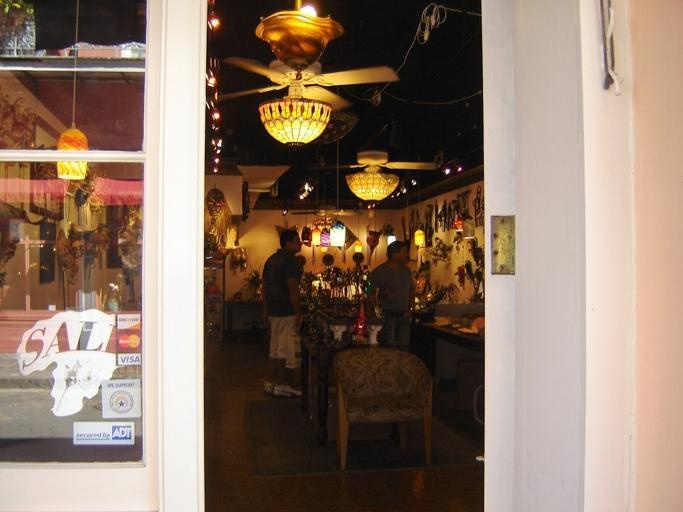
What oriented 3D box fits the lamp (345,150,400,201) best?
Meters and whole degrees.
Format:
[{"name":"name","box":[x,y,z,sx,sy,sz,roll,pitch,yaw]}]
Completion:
[{"name":"lamp","box":[0.344,-0.887,7.409,0.520,0.466,0.575,1,-5,-6]}]

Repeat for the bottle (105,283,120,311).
[{"name":"bottle","box":[-0.751,0.134,2.111,0.050,0.097,0.010,0,1,12]}]

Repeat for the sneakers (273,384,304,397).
[{"name":"sneakers","box":[-0.548,1.371,6.567,0.329,0.153,0.122,0,18,-15]}]

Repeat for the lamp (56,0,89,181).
[{"name":"lamp","box":[-0.892,-0.552,2.118,0.088,0.608,0.068,-1,1,-34]}]

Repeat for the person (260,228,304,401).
[{"name":"person","box":[-0.655,0.604,6.978,0.414,1.755,1.417,-1,1,-5]}]

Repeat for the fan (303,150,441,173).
[{"name":"fan","box":[0.338,-1.099,7.712,0.823,0.138,0.811,-1,0,-43]}]

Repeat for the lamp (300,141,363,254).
[{"name":"lamp","box":[-0.205,-1.005,10.808,1.033,3.050,1.025,2,-4,-2]}]

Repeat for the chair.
[{"name":"chair","box":[0.265,1.110,4.790,0.702,0.879,0.721,0,-11,-3]}]

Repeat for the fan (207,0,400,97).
[{"name":"fan","box":[-0.226,-1.271,4.105,0.793,0.611,0.820,3,5,41]}]

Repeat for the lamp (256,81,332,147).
[{"name":"lamp","box":[-0.318,-0.985,4.624,0.366,0.283,0.359,0,1,-44]}]

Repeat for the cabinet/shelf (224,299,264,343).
[{"name":"cabinet/shelf","box":[-1.737,1.133,11.550,0.745,0.717,0.434,-1,1,-17]}]

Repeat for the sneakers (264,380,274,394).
[{"name":"sneakers","box":[-0.736,1.350,6.523,0.094,0.151,0.123,-2,31,-11]}]
